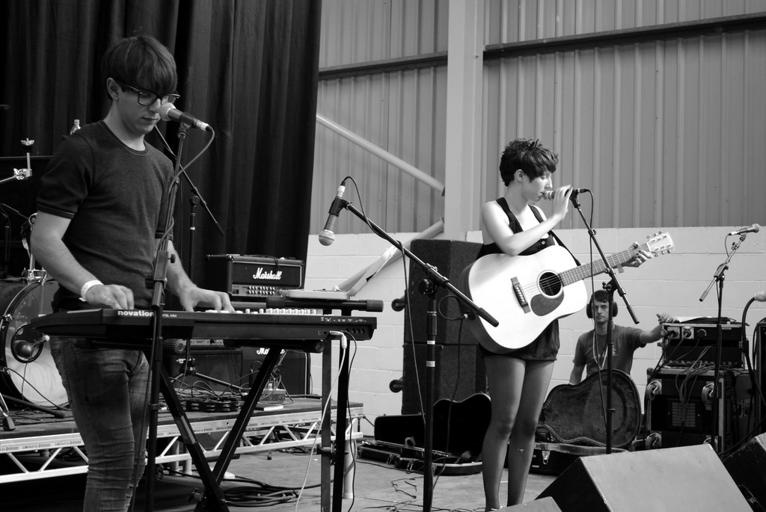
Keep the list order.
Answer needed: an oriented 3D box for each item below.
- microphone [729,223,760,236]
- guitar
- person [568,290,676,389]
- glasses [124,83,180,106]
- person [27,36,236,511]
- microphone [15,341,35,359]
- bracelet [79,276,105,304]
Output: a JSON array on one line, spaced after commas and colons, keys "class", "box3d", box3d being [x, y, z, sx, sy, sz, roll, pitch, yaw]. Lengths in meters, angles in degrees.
[{"class": "microphone", "box3d": [3.007, -0.226, 8.914, 0.306, 0.098, 0.090, -9, 12, -39]}, {"class": "guitar", "box3d": [1.182, 0.144, 7.085, 1.509, 0.648, 0.224, -21, -9, -28]}, {"class": "person", "box3d": [2.003, 0.695, 8.860, 0.654, 0.763, 0.365, -6, -31, 27]}, {"class": "glasses", "box3d": [-1.274, -0.868, 5.710, 0.148, 0.050, 0.154, 16, 9, 37]}, {"class": "person", "box3d": [-1.421, 0.079, 5.689, 0.866, 2.242, 0.414, 2, -1, -22]}, {"class": "microphone", "box3d": [-2.438, 0.638, 7.283, 0.099, 0.104, 0.083, 6, 0, 22]}, {"class": "bracelet", "box3d": [-1.511, 0.171, 5.562, 0.041, 0.120, 0.117, 9, 33, 5]}]
